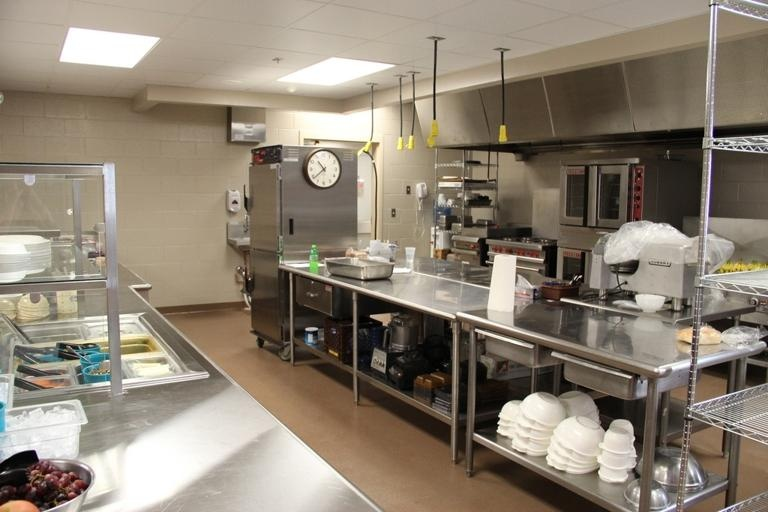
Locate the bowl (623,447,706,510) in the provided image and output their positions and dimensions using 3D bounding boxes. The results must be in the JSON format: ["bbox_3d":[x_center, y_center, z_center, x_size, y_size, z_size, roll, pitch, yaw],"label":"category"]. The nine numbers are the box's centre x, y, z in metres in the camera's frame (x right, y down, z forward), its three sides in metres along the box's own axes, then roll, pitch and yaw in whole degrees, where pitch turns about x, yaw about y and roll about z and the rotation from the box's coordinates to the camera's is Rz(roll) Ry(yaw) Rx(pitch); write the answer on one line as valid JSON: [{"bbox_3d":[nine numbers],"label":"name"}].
[{"bbox_3d":[1.463,1.142,2.696,0.297,0.080,0.318,-3,6,0],"label":"bowl"}]

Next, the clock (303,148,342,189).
[{"bbox_3d":[-0.639,-0.926,5.589,0.468,0.427,0.071,5,11,25],"label":"clock"}]

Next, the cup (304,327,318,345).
[{"bbox_3d":[-0.715,0.799,5.234,0.160,0.159,0.155,0,-1,0],"label":"cup"}]

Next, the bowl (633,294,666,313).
[{"bbox_3d":[1.767,0.296,3.442,0.141,0.073,0.137,1,4,0],"label":"bowl"}]

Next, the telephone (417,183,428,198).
[{"bbox_3d":[0.644,-1.098,8.758,0.201,0.276,0.122,-1,10,-6],"label":"telephone"}]

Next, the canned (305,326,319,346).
[{"bbox_3d":[-0.739,0.800,5.219,0.162,0.166,0.156,0,6,-10],"label":"canned"}]

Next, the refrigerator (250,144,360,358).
[{"bbox_3d":[-0.930,-0.058,5.740,1.251,2.259,0.865,0,10,-5],"label":"refrigerator"}]

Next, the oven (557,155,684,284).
[{"bbox_3d":[2.592,-0.371,5.759,1.327,1.379,0.548,5,11,24],"label":"oven"}]

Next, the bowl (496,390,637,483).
[{"bbox_3d":[1.013,0.938,2.939,0.438,0.192,0.542,-1,7,-20],"label":"bowl"}]

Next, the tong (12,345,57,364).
[{"bbox_3d":[-1.580,0.446,2.358,0.119,0.030,0.088,2,-1,34],"label":"tong"}]
